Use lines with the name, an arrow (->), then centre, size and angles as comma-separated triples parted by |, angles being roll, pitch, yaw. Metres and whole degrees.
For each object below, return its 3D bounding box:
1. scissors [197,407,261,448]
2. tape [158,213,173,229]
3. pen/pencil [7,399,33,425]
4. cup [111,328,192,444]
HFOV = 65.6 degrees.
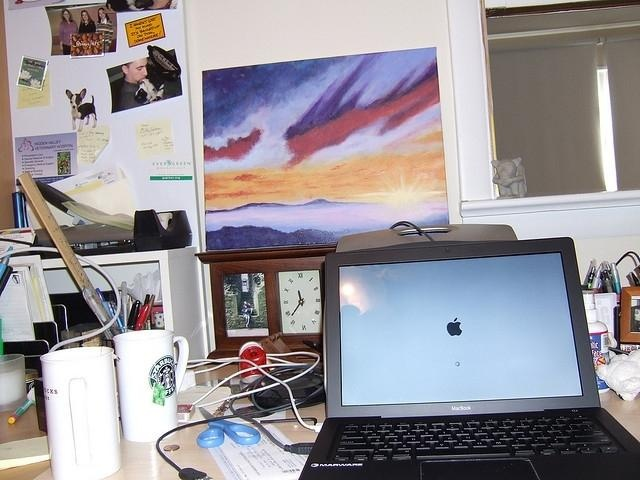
scissors -> -0.212, 0.395, 1.070 | 0.126, 0.026, 0.232 | 0, -2, -18
tape -> -0.490, -0.064, 1.556 | 0.051, 0.051, 0.046 | -2, -26, -8
pen/pencil -> -0.688, 0.388, 1.118 | 0.015, 0.011, 0.061 | 35, -1, -12
cup -> -0.357, 0.306, 1.082 | 0.118, 0.197, 0.198 | -10, -8, 29
